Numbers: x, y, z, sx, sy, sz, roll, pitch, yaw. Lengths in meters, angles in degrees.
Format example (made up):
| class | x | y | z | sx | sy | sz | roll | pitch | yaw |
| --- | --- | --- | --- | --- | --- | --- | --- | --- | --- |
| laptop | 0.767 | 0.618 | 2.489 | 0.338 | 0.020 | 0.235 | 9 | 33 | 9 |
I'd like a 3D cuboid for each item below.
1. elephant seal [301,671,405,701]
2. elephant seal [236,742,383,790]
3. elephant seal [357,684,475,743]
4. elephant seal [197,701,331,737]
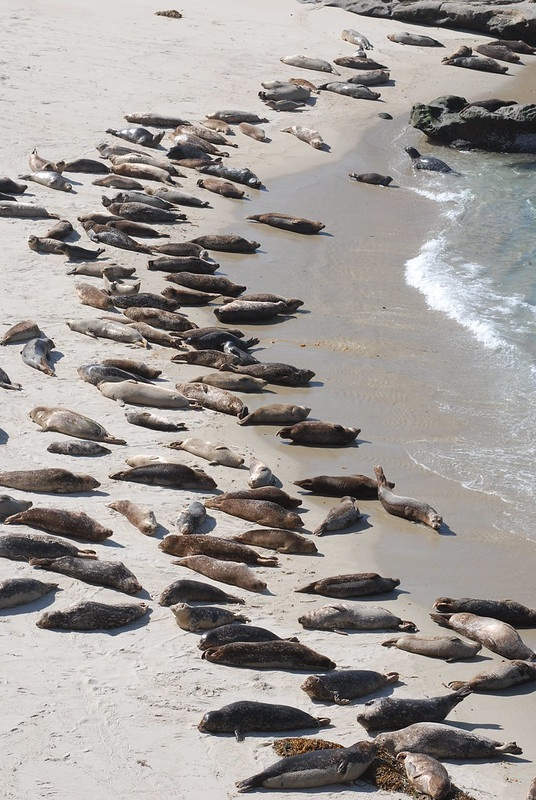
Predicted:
| class | x | y | z | sx | sy | sz | roll | pitch | yaw |
| --- | --- | --- | --- | --- | --- | --- | --- | --- | --- |
| elephant seal | 0.632 | 2.239 | 9.376 | 0.540 | 0.144 | 0.278 | -2 | 9 | -21 |
| elephant seal | 0.322 | 2.678 | 8.520 | 0.812 | 0.357 | 0.194 | -8 | 61 | -7 |
| elephant seal | 1.151 | 2.462 | 9.236 | 0.882 | 0.263 | 0.297 | -10 | 27 | -17 |
| elephant seal | -0.058 | 2.404 | 8.895 | 0.666 | 0.159 | 0.338 | -2 | -11 | -4 |
